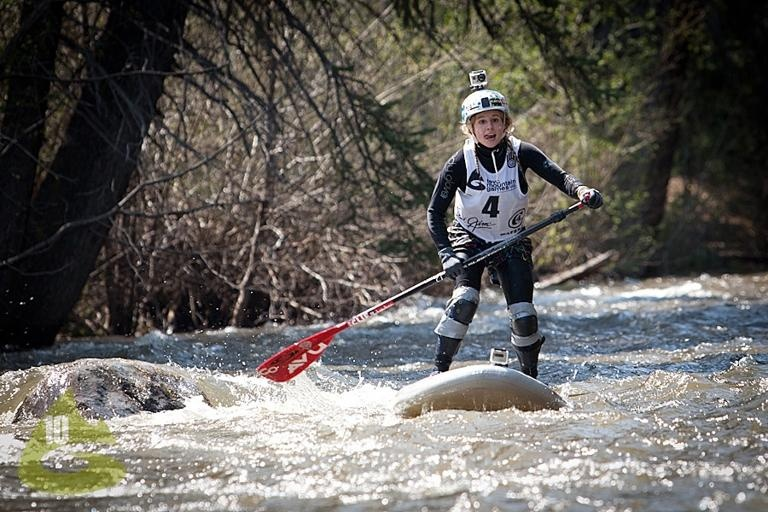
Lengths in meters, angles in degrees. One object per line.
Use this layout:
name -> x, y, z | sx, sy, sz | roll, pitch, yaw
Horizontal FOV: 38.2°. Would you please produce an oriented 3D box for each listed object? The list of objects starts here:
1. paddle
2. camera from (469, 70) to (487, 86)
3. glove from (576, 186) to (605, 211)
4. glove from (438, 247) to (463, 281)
paddle -> 0.272, 0.446, 14.943 | 4.219, 0.288, 0.483 | -30, -43, -8
camera -> 1.086, -2.071, 12.812 | 0.193, 0.192, 0.281 | 0, 11, 4
glove -> 2.326, -0.675, 12.524 | 0.285, 0.265, 0.278 | -2, 11, -6
glove -> 0.770, 0.073, 12.543 | 0.282, 0.330, 0.224 | -1, 11, 1
